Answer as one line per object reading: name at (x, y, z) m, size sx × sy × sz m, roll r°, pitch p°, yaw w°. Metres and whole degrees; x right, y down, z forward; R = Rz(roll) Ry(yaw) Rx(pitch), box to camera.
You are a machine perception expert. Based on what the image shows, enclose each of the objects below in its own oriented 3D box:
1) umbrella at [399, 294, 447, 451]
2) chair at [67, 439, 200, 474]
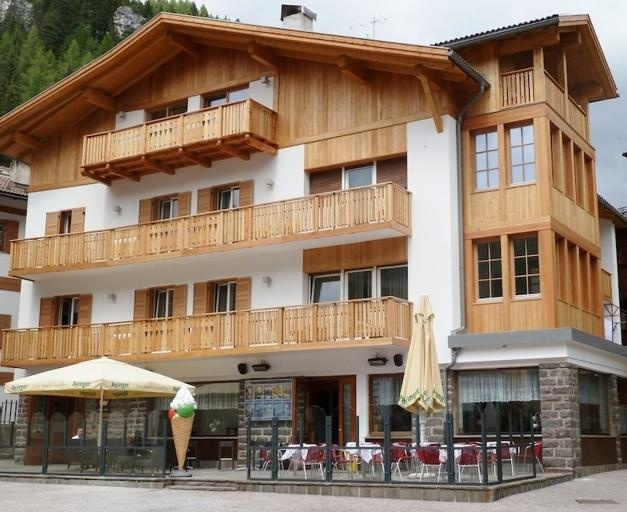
umbrella at (2.490, 2.210, 15.656) m, size 0.972 × 2.713 × 0.659 m, roll -1°, pitch -15°, yaw 7°
chair at (-4.685, 5.249, 17.739) m, size 3.409 × 0.962 × 1.049 m, roll -4°, pitch -9°, yaw 25°
